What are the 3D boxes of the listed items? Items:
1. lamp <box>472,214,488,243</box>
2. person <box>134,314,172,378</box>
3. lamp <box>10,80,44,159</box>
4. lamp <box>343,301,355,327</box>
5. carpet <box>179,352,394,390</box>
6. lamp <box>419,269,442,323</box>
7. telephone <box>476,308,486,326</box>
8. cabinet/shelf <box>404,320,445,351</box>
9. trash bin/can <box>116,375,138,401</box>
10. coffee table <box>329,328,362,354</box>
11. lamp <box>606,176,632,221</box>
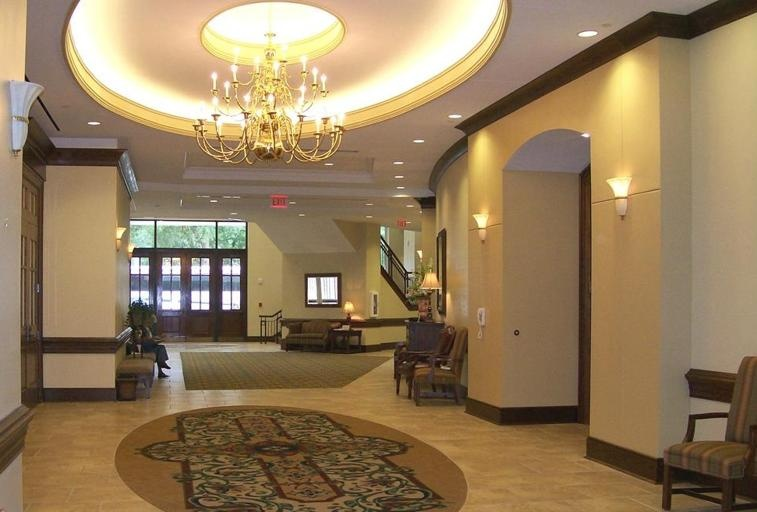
[{"bbox_3d":[1.603,-0.444,9.052,0.123,0.458,0.247,3,-5,-33],"label":"lamp"},{"bbox_3d":[-5.016,1.977,12.861,0.734,1.324,0.492,0,-4,-8],"label":"person"},{"bbox_3d":[-2.802,-1.120,4.599,0.216,0.653,0.416,2,-5,-27],"label":"lamp"},{"bbox_3d":[-1.002,1.964,19.395,0.302,0.881,0.510,0,-4,-3],"label":"lamp"},{"bbox_3d":[-2.340,2.903,15.118,5.294,0.220,6.805,1,-5,-17],"label":"carpet"},{"bbox_3d":[1.080,0.852,12.409,0.547,0.978,0.537,8,-11,-25],"label":"lamp"},{"bbox_3d":[1.596,0.965,9.026,0.182,0.239,0.082,1,4,37],"label":"telephone"},{"bbox_3d":[0.947,1.680,12.154,0.802,0.754,0.573,2,2,-1],"label":"cabinet/shelf"},{"bbox_3d":[-4.465,2.346,10.437,0.488,0.445,0.371,1,-5,-8],"label":"trash bin/can"},{"bbox_3d":[-1.049,2.819,19.063,0.860,0.807,0.865,1,-1,33],"label":"coffee table"},{"bbox_3d":[2.781,-0.639,6.602,0.337,0.431,0.337,0,-3,37],"label":"lamp"}]
